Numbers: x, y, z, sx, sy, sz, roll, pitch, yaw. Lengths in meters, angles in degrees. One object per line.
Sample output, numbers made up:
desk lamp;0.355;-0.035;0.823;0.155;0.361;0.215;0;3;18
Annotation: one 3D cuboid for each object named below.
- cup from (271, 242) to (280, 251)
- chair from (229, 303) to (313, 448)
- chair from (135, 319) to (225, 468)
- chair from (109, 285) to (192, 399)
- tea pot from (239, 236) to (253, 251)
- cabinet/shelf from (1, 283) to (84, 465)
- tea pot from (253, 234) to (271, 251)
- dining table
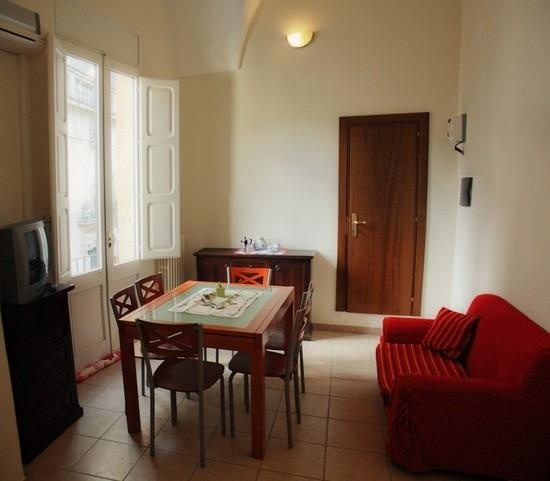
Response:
cup;0.009;0.070;5.004;0.063;0.102;0.086;-3;-5;44
chair;-0.046;1.013;3.255;0.495;1.022;0.524;2;6;5
chair;-0.654;0.922;3.122;0.612;0.968;0.789;2;10;9
chair;-0.924;0.783;3.224;0.519;0.990;0.555;7;17;18
tea pot;-0.340;0.045;5.127;0.110;0.177;0.160;0;-7;-9
cabinet/shelf;-1.650;0.908;3.021;0.211;1.035;0.576;2;10;14
tea pot;-0.150;0.023;5.074;0.178;0.213;0.151;3;0;11
dining table;-0.342;0.752;3.362;0.917;0.864;1.201;1;6;16
